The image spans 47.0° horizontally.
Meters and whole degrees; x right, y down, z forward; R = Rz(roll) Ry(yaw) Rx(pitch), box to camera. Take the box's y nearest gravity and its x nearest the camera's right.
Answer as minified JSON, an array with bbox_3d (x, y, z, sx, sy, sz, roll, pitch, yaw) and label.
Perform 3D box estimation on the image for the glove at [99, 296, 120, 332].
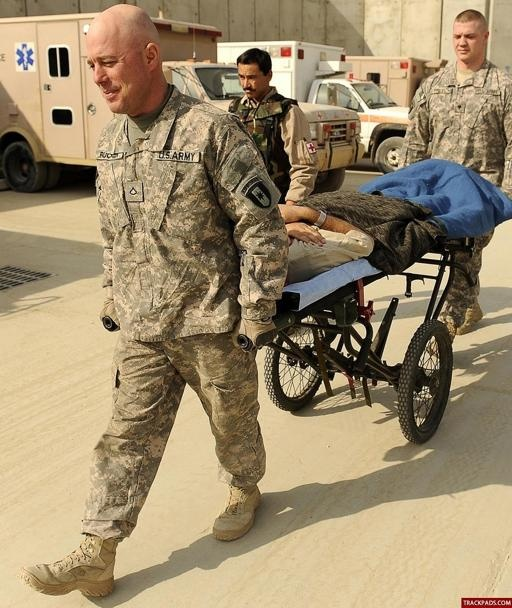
[{"bbox_3d":[-0.480,0.037,2.007,0.085,0.100,0.047,10,-5,37],"label":"glove"}]

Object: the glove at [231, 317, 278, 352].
[{"bbox_3d":[0.004,0.082,1.663,0.117,0.093,0.078,-3,15,-9],"label":"glove"}]

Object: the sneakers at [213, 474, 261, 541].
[{"bbox_3d":[-0.044,0.742,2.150,0.108,0.097,0.266,6,13,18],"label":"sneakers"}]

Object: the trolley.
[{"bbox_3d":[0.238,0.133,2.848,0.996,0.863,1.750,7,12,38],"label":"trolley"}]

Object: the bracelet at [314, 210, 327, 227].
[{"bbox_3d":[0.270,-0.359,2.460,0.027,0.056,0.060,24,-31,-25],"label":"bracelet"}]

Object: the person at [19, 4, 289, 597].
[{"bbox_3d":[-0.307,0.042,1.762,0.759,1.720,0.436,-5,17,-14],"label":"person"}]
